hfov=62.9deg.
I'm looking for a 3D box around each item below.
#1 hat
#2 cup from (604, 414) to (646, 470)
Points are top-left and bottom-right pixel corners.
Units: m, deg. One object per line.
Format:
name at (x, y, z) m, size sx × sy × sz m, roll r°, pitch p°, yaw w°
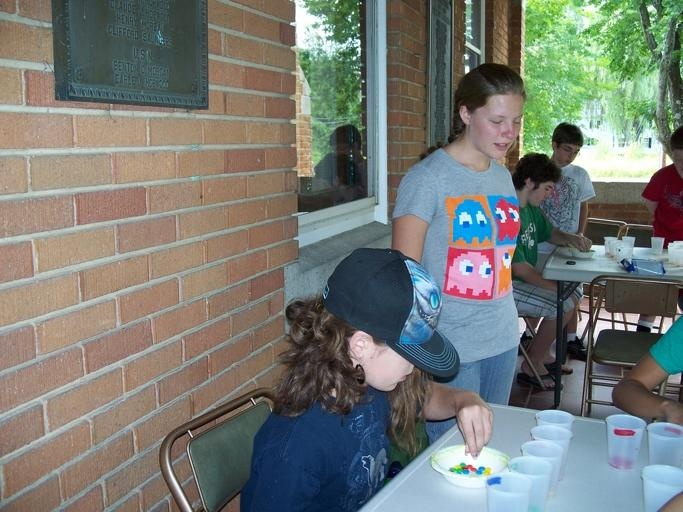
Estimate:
hat at (0.143, 0.159, 1.564) m, size 0.388 × 0.359 × 0.174 m, roll -3°, pitch 12°, yaw -3°
cup at (0.823, 0.531, 1.629) m, size 0.124 × 0.142 × 0.135 m, roll 0°, pitch 2°, yaw 0°
